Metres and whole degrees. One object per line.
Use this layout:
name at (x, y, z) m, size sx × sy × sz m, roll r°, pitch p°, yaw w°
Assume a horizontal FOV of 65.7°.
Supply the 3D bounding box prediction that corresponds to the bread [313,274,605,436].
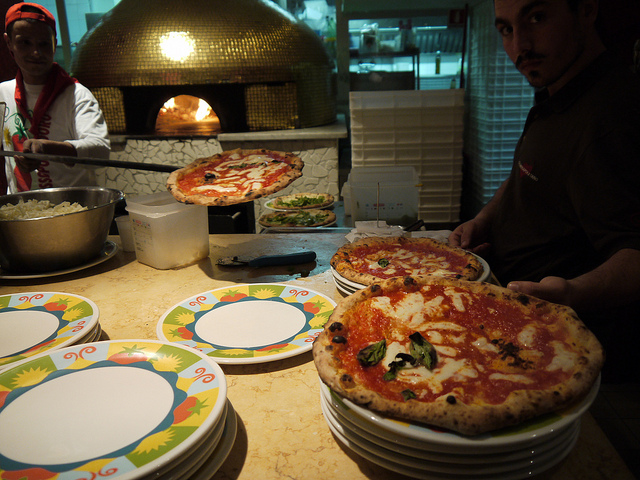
bread at (0.311, 0.243, 1.161) m, size 0.602 × 0.152 × 0.509 m, roll 10°, pitch 20°, yaw 28°

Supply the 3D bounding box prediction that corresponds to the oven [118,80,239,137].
oven at (-1.246, -1.268, 4.724) m, size 1.088 × 0.489 × 0.982 m, roll 1°, pitch 18°, yaw 0°

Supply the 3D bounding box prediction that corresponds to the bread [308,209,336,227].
bread at (0.013, -0.148, 2.863) m, size 0.121 × 0.027 × 0.116 m, roll -27°, pitch 23°, yaw -15°
